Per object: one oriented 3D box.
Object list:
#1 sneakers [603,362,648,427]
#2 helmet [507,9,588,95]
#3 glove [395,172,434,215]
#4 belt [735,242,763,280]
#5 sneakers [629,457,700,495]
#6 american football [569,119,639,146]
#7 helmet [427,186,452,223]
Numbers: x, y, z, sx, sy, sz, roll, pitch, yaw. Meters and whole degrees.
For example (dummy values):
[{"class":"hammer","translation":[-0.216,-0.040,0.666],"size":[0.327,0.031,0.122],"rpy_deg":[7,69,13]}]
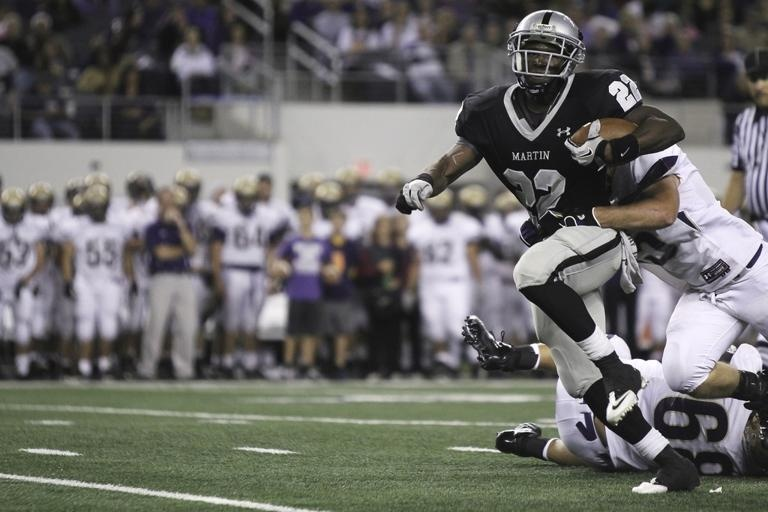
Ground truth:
[{"class":"sneakers","translation":[1.361,0.779,8.230],"size":[0.214,0.424,0.150],"rpy_deg":[32,-44,-7]},{"class":"helmet","translation":[0.964,-1.243,8.547],"size":[0.464,0.504,0.578],"rpy_deg":[10,7,7]},{"class":"glove","translation":[0.116,-0.347,8.570],"size":[0.266,0.178,0.356],"rpy_deg":[3,-15,-9]},{"class":"belt","translation":[2.215,0.036,8.583],"size":[0.073,0.204,0.155],"rpy_deg":[35,31,13]},{"class":"sneakers","translation":[1.577,1.296,8.262],"size":[0.457,0.286,0.164],"rpy_deg":[-3,-15,6]},{"class":"american football","translation":[1.259,-0.719,8.234],"size":[0.302,0.127,0.170],"rpy_deg":[-16,17,-4]},{"class":"helmet","translation":[0.495,-0.428,12.589],"size":[0.232,0.275,0.305],"rpy_deg":[-2,-1,2]}]
